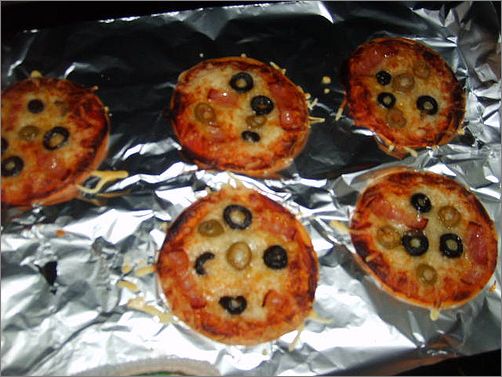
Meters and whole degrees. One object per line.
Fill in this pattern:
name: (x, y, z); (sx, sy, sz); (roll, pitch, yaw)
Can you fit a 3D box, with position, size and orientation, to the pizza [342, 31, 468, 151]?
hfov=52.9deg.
pizza: (0.954, -0.582, 3.161); (0.793, 0.779, 0.134); (7, -4, -4)
